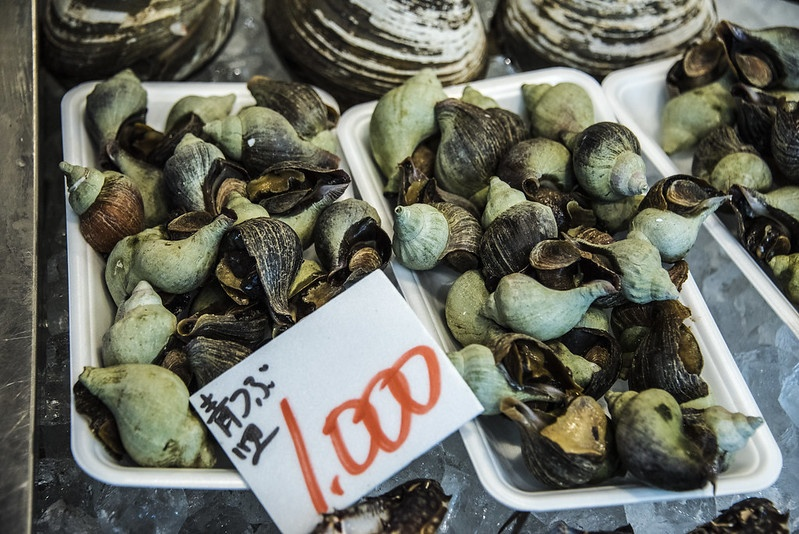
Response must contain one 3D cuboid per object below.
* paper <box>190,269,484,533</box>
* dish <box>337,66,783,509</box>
[{"bbox_3d":[-0.134,0.279,1.387,0.465,0.167,0.373,-32,78,-18],"label":"paper"},{"bbox_3d":[0.207,0.078,1.556,0.716,0.176,1.179,-22,73,-16],"label":"dish"}]
